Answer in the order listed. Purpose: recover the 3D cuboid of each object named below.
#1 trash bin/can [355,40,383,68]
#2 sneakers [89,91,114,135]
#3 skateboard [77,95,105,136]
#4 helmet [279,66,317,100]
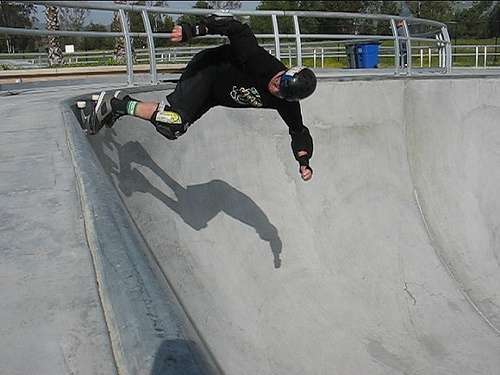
[{"bbox_3d":[3.122,-3.508,10.893,0.517,0.701,0.704,-10,18,-17],"label":"trash bin/can"},{"bbox_3d":[-1.150,-0.583,3.164,0.090,0.330,0.184,12,-18,11],"label":"sneakers"},{"bbox_3d":[-1.254,-0.563,3.213,0.114,0.314,0.296,7,17,31],"label":"skateboard"},{"bbox_3d":[0.350,-0.778,3.073,0.194,0.277,0.247,9,-32,-17],"label":"helmet"}]
